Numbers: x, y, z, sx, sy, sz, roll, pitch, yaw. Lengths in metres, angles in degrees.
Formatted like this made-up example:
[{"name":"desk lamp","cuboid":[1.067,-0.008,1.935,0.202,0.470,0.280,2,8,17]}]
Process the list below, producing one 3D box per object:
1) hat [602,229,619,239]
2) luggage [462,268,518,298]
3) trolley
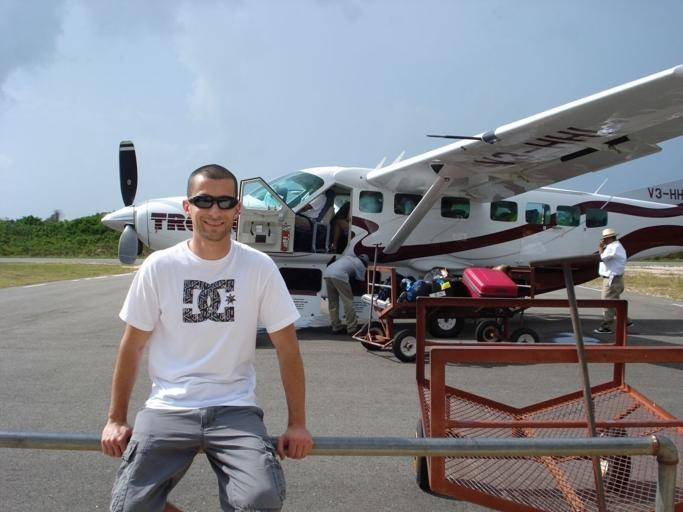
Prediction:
[{"name":"hat","cuboid":[5.531,-0.449,11.284,0.332,0.147,0.320,-12,-8,4]},{"name":"luggage","cuboid":[2.208,0.376,7.896,0.537,0.174,0.534,8,15,11]},{"name":"trolley","cuboid":[1.834,0.869,9.120,2.860,1.272,1.457,0,2,-21]}]
